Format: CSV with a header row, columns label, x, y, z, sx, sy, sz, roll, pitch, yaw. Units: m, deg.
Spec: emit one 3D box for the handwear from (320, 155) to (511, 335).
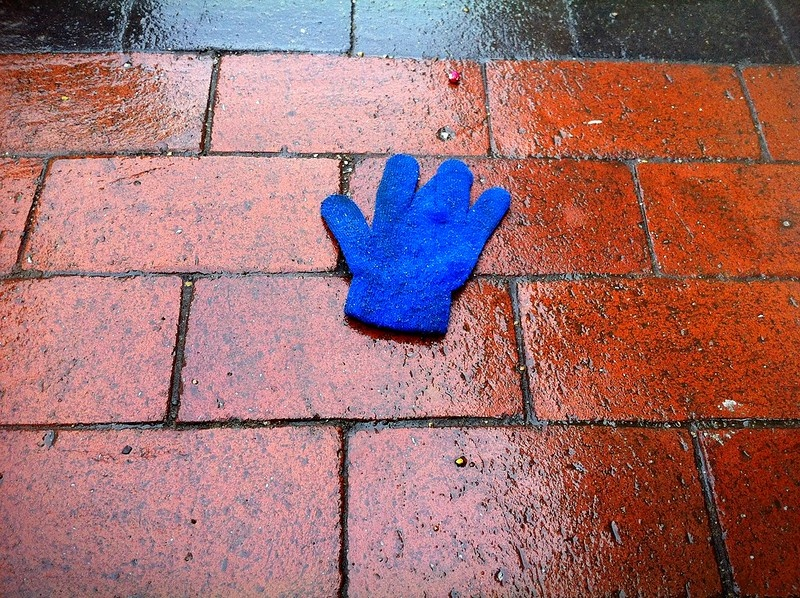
label,x,y,z,sx,sy,sz,roll,pitch,yaw
handwear,0.002,-0.222,2.053,0.544,0.166,0.630,27,60,8
